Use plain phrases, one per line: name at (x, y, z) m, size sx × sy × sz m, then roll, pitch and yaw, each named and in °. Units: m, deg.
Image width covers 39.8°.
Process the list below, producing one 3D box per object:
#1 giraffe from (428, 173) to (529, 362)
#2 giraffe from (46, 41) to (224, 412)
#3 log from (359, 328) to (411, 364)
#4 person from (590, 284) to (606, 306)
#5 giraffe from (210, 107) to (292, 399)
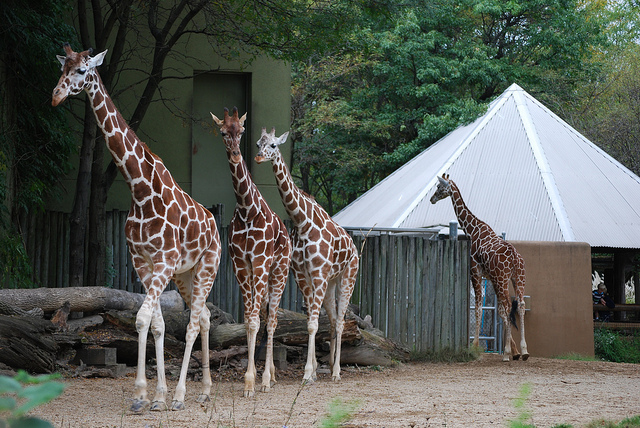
giraffe at (4.122, 1.266, 22.106) m, size 1.852 × 4.735 × 0.989 m, roll -2°, pitch -8°, yaw 10°
giraffe at (-3.409, 0.219, 17.851) m, size 2.718 × 7.194 × 4.113 m, roll 0°, pitch -8°, yaw -7°
log at (1.409, 3.011, 20.199) m, size 1.205 × 0.379 × 0.322 m, roll 29°, pitch 7°, yaw -33°
person at (8.343, 2.382, 26.552) m, size 0.357 × 0.654 × 0.766 m, roll -3°, pitch -9°, yaw 17°
giraffe at (-1.355, 0.797, 17.741) m, size 1.141 × 5.607 × 2.233 m, roll -3°, pitch -8°, yaw 19°
